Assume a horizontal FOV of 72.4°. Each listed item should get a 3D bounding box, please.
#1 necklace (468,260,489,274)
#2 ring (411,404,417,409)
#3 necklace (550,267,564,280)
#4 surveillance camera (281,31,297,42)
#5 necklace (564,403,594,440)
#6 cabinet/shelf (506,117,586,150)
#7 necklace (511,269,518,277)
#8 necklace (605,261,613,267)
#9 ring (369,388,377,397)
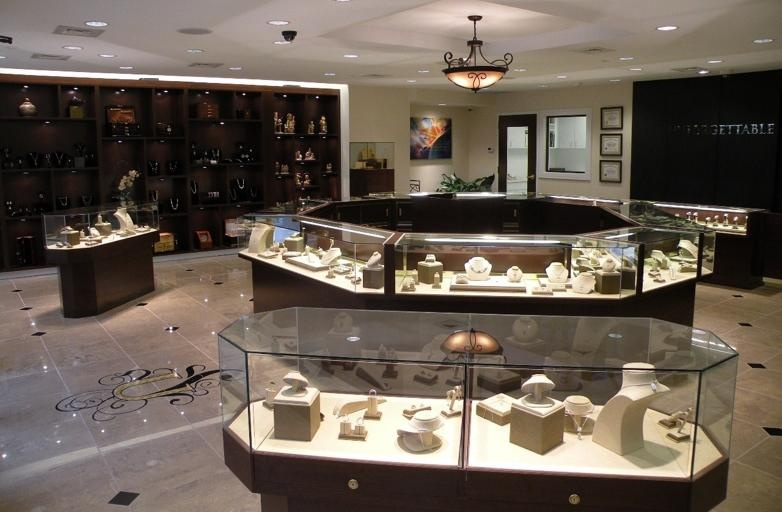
[{"bbox_3d":[0.916,0.106,5.553,0.247,0.125,0.128,0,0,0],"label":"necklace"},{"bbox_3d":[0.153,0.969,3.435,0.036,0.017,0.035,-1,-1,0],"label":"ring"},{"bbox_3d":[1.712,0.181,5.474,0.142,0.118,0.070,1,-3,5],"label":"necklace"},{"bbox_3d":[-1.247,-2.708,6.577,0.145,0.092,0.137,0,6,-5],"label":"surveillance camera"},{"bbox_3d":[1.189,1.046,3.433,0.207,0.186,0.211,0,3,10],"label":"necklace"},{"bbox_3d":[4.028,-3.104,13.523,1.070,0.674,0.542,5,10,37],"label":"cabinet/shelf"},{"bbox_3d":[1.295,0.182,5.563,0.073,0.045,0.067,-4,4,-33],"label":"necklace"},{"bbox_3d":[2.185,0.084,5.336,0.067,0.085,0.047,5,18,18],"label":"necklace"},{"bbox_3d":[-0.116,0.868,3.414,0.067,0.048,0.022,2,12,6],"label":"ring"}]
